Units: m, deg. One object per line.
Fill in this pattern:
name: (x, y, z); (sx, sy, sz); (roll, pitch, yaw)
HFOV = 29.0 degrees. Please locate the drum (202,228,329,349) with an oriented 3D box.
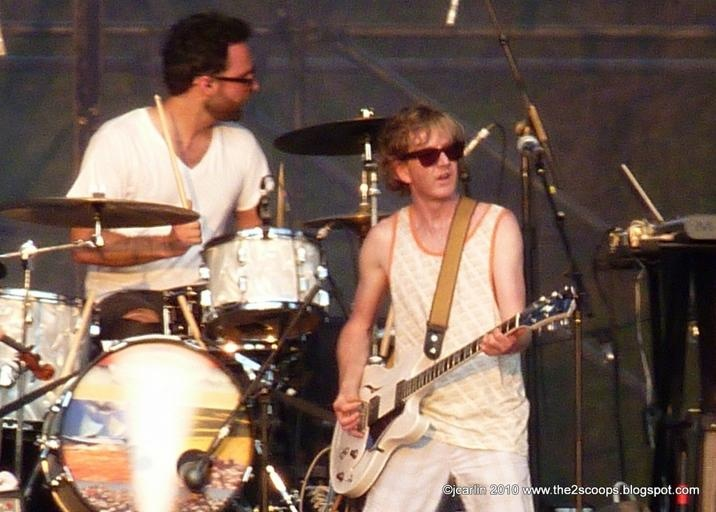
drum: (-0.599, 0.018, 8.553); (0.853, 0.506, 0.759); (-1, 12, -7)

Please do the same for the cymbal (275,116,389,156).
cymbal: (-0.165, -0.763, 8.694); (0.716, 0.108, 0.635); (-4, -14, 0)

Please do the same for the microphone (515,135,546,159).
microphone: (1.032, -0.650, 8.212); (0.225, 0.122, 0.343); (-3, 4, 3)

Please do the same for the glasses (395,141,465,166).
glasses: (0.439, -0.561, 7.622); (0.189, 0.056, 0.211); (-8, -2, -29)

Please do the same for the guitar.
guitar: (0.397, 0.694, 7.299); (0.210, 0.682, 1.787); (27, -44, -36)
